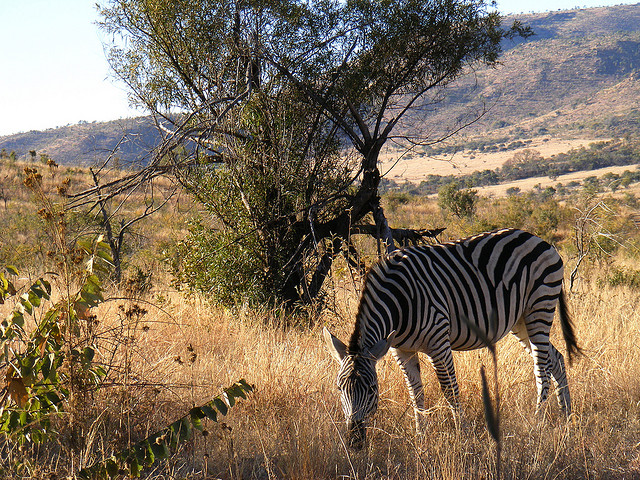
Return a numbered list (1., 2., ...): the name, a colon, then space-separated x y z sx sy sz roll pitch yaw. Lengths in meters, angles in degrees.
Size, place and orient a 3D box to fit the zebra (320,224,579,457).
1. zebra: 2.204 1.568 11.557 4.186 3.295 1.248 -7 -3 -19
